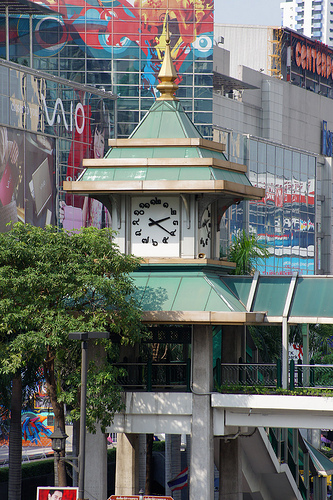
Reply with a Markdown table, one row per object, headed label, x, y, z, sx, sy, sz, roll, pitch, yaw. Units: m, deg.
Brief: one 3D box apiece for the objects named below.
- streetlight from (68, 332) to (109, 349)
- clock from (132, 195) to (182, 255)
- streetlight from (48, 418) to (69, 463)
| label | x | y | z | sx | sy | sz | roll | pitch | yaw |
| --- | --- | --- | --- | --- | --- | --- | --- | --- | --- |
| streetlight | -2.446 | 2.814 | 43.651 | 0.712 | 0.582 | 1.581 | 0 | 2 | 37 |
| clock | -0.354 | -0.949 | 50.825 | 1.838 | 2.210 | 0.296 | -1 | 1 | 7 |
| streetlight | -3.610 | 6.259 | 46.073 | 0.596 | 1.390 | 0.648 | 0 | 4 | -34 |
